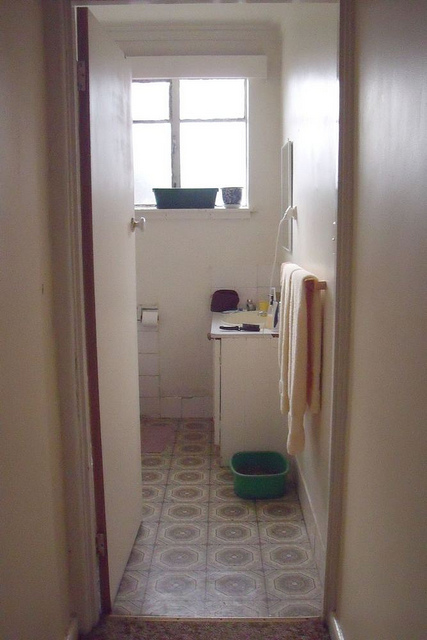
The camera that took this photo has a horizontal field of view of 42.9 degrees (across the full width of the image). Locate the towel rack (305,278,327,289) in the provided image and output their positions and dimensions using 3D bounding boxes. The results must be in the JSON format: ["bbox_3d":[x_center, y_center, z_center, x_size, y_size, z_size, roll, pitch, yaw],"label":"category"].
[{"bbox_3d":[0.368,-0.129,1.941,0.062,0.040,0.077,-2,7,-16],"label":"towel rack"}]

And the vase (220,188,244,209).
[{"bbox_3d":[0.124,-0.801,3.570,0.125,0.112,0.130,2,14,9],"label":"vase"}]

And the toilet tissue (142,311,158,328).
[{"bbox_3d":[-0.429,-0.010,3.728,0.116,0.116,0.087,1,1,-3],"label":"toilet tissue"}]

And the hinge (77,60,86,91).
[{"bbox_3d":[-0.374,-0.693,1.537,0.020,0.084,0.011,-1,7,-12],"label":"hinge"}]

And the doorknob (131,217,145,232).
[{"bbox_3d":[-0.296,-0.363,2.149,0.063,0.077,0.074,0,5,6],"label":"doorknob"}]
